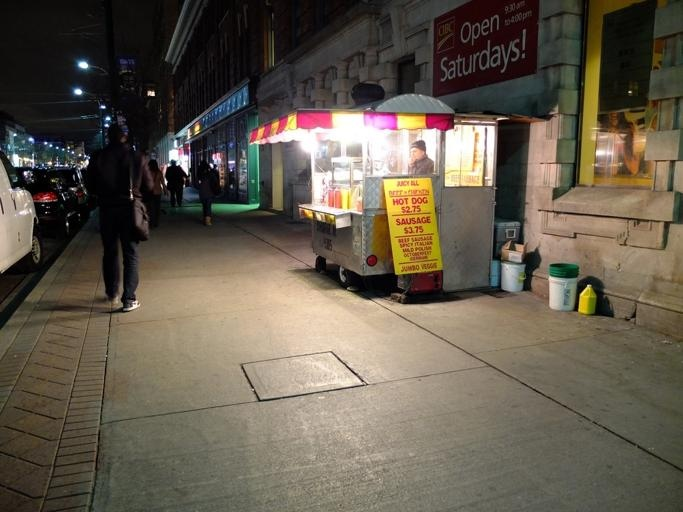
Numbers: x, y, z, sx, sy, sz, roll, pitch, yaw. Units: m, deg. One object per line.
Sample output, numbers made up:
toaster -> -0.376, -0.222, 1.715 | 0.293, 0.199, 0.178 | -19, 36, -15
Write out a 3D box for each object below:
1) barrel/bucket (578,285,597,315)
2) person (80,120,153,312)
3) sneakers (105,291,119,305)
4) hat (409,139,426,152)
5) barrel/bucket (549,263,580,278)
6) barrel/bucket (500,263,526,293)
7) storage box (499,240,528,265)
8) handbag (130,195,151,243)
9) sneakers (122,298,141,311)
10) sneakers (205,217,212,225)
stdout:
barrel/bucket -> 3.608, 0.620, 7.029 | 0.248, 0.412, 0.292 | 4, 12, 18
person -> -3.247, -0.577, 7.157 | 0.936, 2.716, 0.555 | 5, 12, 23
sneakers -> -3.553, 0.654, 7.504 | 0.181, 0.185, 0.187 | 7, 14, 17
hat -> 1.251, -1.853, 7.959 | 0.214, 0.187, 0.171 | -21, 27, -25
barrel/bucket -> 3.366, 0.216, 7.287 | 0.410, 0.196, 0.509 | 6, 13, 25
barrel/bucket -> 2.897, 0.326, 8.212 | 0.440, 0.491, 0.457 | 1, 6, 0
storage box -> 2.940, -0.112, 8.233 | 0.367, 0.392, 0.362 | 9, 15, 28
handbag -> -2.989, -0.556, 7.128 | 0.209, 0.686, 0.431 | -4, 12, -20
sneakers -> -3.137, 0.724, 7.210 | 0.106, 0.136, 0.301 | 1, 8, 5
sneakers -> -4.769, -1.290, 17.120 | 0.126, 0.255, 0.364 | 3, 23, 3
